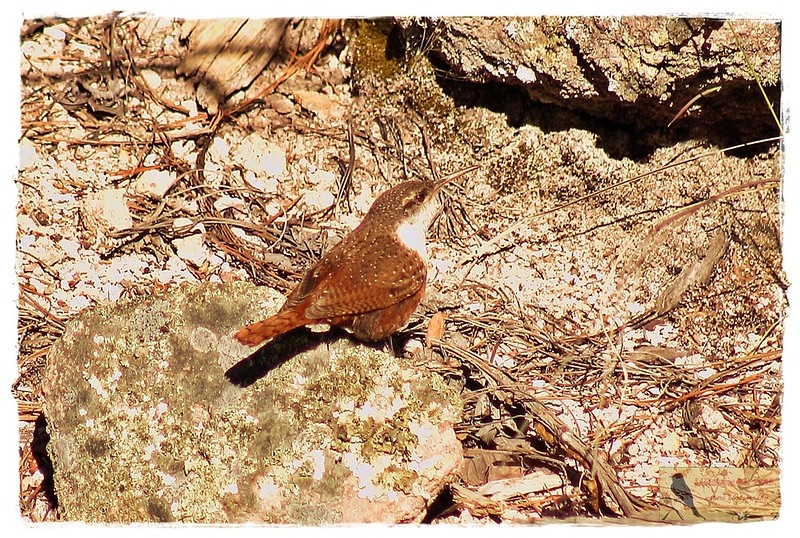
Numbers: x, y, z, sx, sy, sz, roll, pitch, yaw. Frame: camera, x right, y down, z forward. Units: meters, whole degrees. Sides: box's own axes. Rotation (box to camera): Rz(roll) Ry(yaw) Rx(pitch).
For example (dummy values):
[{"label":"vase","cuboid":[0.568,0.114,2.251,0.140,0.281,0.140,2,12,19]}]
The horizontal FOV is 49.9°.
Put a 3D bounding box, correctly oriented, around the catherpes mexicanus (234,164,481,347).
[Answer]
[{"label":"catherpes mexicanus","cuboid":[-0.194,-0.034,4.145,1.267,0.803,0.603,-14,23,-34]}]
